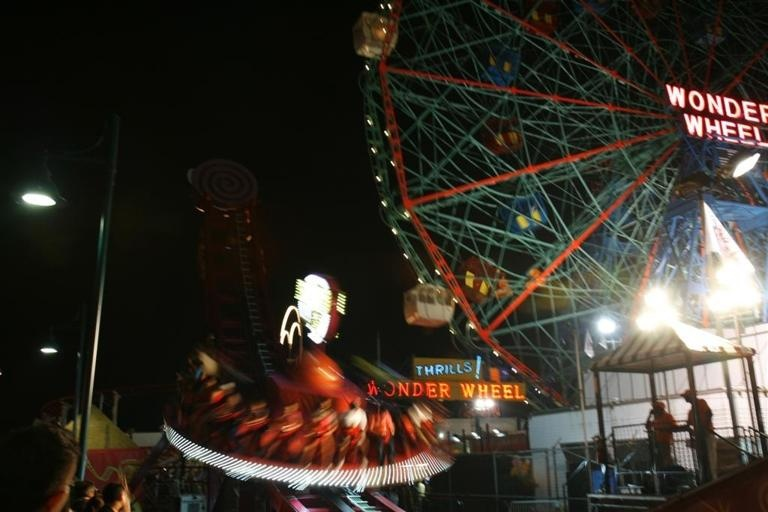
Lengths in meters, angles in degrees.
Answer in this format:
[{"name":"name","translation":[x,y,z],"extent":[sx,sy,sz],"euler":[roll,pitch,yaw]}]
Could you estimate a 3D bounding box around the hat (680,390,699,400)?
[{"name":"hat","translation":[11.420,5.207,26.001],"extent":[0.796,0.218,0.906],"euler":[-6,3,21]}]
